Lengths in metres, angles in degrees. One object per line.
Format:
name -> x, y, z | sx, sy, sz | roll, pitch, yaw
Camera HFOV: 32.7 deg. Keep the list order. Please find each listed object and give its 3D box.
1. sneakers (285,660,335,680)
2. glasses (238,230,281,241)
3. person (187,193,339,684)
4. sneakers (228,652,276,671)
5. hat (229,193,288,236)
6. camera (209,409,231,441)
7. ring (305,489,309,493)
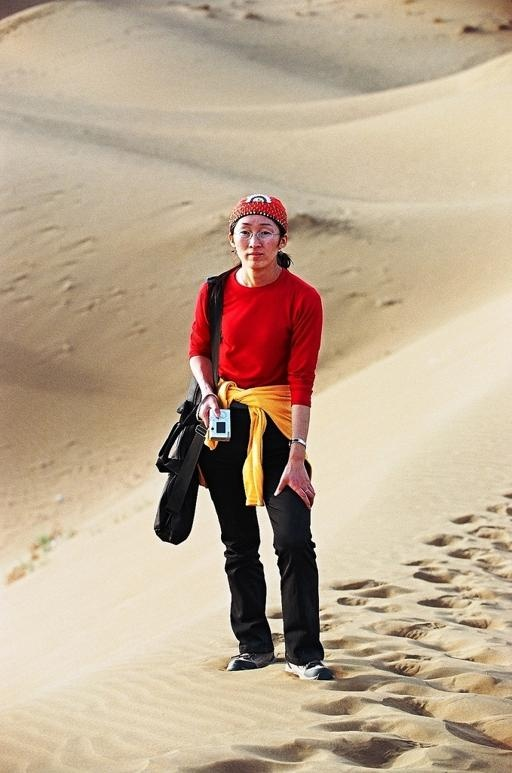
sneakers -> 0.219, 1.152, 3.578 | 0.076, 0.080, 0.202 | 5, -10, -44
glasses -> 0.008, -0.608, 3.532 | 0.152, 0.059, 0.044 | -2, -2, -2
person -> -0.006, 0.232, 3.654 | 0.420, 2.000, 0.526 | -2, -2, -30
sneakers -> -0.028, 1.206, 3.802 | 0.229, 0.085, 0.073 | 2, -2, -12
hat -> 0.007, -0.721, 3.631 | 0.237, 0.196, 0.214 | -2, -2, -1
camera -> -0.151, 0.158, 3.566 | 0.092, 0.124, 0.046 | -2, -2, -6
ring -> 0.202, 0.418, 3.470 | 0.012, 0.010, 0.003 | -1, -2, 36
